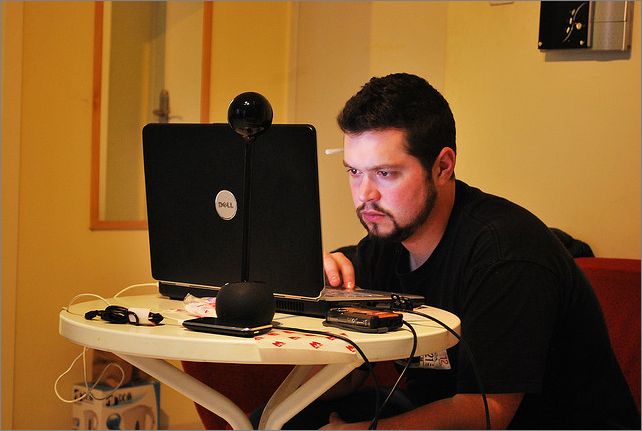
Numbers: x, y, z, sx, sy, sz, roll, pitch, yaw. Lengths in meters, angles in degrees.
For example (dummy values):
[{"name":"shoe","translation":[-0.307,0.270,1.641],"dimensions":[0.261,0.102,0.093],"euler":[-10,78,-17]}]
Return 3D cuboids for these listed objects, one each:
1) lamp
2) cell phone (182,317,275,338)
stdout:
[{"name":"lamp","translation":[-0.218,0.004,1.742],"dimensions":[0.174,0.711,0.174],"euler":[1,9,-7]},{"name":"cell phone","translation":[-0.261,0.310,1.658],"dimensions":[0.243,0.041,0.089],"euler":[-1,4,6]}]
